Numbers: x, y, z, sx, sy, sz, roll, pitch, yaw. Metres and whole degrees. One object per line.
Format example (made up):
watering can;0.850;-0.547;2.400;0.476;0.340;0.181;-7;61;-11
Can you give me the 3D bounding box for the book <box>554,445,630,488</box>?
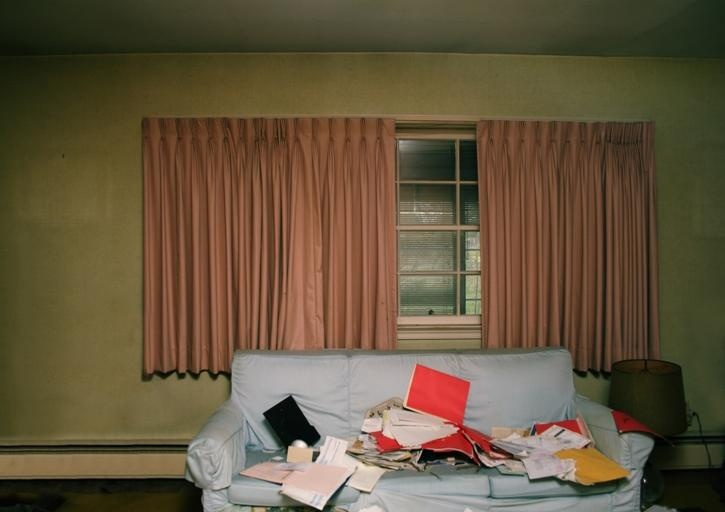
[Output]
book;1.609;1.432;4.711;0.292;0.090;0.284;-12;36;-17
